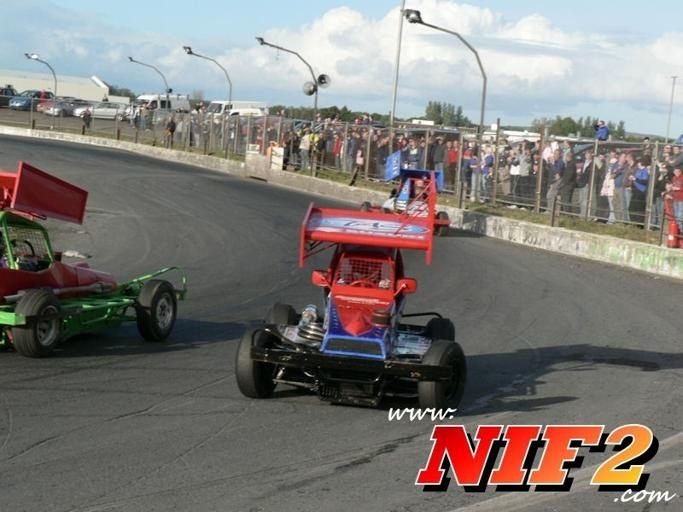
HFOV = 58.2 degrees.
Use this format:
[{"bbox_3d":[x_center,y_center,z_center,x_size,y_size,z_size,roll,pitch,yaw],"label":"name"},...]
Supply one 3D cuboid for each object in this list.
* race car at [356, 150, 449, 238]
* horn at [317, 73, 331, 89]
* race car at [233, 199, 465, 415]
[{"bbox_3d":[2.471,-2.340,22.112,2.681,2.339,4.573,14,17,7],"label":"race car"},{"bbox_3d":[-0.990,-9.203,32.135,0.713,0.570,0.217,8,10,37],"label":"horn"},{"bbox_3d":[0.201,0.631,7.774,2.696,2.418,1.843,3,8,6],"label":"race car"}]
